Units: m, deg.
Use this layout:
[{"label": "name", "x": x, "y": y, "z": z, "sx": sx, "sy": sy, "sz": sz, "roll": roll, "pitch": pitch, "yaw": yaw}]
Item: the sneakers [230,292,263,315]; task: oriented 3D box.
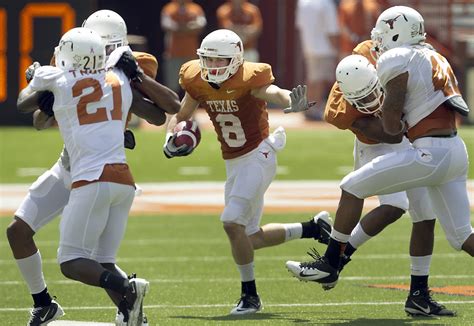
[{"label": "sneakers", "x": 0.088, "y": 1.134, "z": 5.658, "sx": 0.118, "sy": 0.109, "sz": 0.249, "roll": -5, "pitch": -5, "yaw": 29}]

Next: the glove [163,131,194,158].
[{"label": "glove", "x": -0.501, "y": -0.138, "z": 5.861, "sx": 0.241, "sy": 0.224, "sz": 0.187, "roll": -18, "pitch": 23, "yaw": 2}]

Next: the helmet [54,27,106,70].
[{"label": "helmet", "x": -1.173, "y": -0.864, "z": 5.265, "sx": 0.355, "sy": 0.303, "sz": 0.271, "roll": 24, "pitch": 32, "yaw": 38}]

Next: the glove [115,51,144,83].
[{"label": "glove", "x": -0.801, "y": -0.730, "z": 5.325, "sx": 0.084, "sy": 0.208, "sz": 0.170, "roll": -26, "pitch": 32, "yaw": 48}]

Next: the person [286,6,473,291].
[{"label": "person", "x": 1.273, "y": -0.073, "z": 5.507, "sx": 1.158, "sy": 2.239, "sz": 0.422, "roll": 2, "pitch": 9, "yaw": 15}]

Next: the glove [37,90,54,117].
[{"label": "glove", "x": -1.393, "y": -0.440, "z": 5.218, "sx": 0.059, "sy": 0.158, "sz": 0.153, "roll": 9, "pitch": 16, "yaw": -17}]

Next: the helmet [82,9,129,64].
[{"label": "helmet", "x": -1.013, "y": -1.030, "z": 5.671, "sx": 0.303, "sy": 0.357, "sz": 0.404, "roll": -7, "pitch": 27, "yaw": 5}]

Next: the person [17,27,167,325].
[{"label": "person", "x": -1.086, "y": 0.084, "z": 5.108, "sx": 0.729, "sy": 2.097, "sz": 0.845, "roll": -3, "pitch": 9, "yaw": -16}]

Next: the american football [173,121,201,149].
[{"label": "american football", "x": -0.390, "y": -0.266, "z": 5.916, "sx": 0.236, "sy": 0.256, "sz": 0.295, "roll": -9, "pitch": 14, "yaw": -12}]

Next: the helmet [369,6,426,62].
[{"label": "helmet", "x": 1.270, "y": -1.022, "z": 5.529, "sx": 0.422, "sy": 0.384, "sz": 0.337, "roll": 5, "pitch": 13, "yaw": 31}]

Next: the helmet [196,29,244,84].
[{"label": "helmet", "x": -0.098, "y": -0.918, "z": 5.995, "sx": 0.364, "sy": 0.421, "sz": 0.448, "roll": 6, "pitch": 22, "yaw": 31}]
